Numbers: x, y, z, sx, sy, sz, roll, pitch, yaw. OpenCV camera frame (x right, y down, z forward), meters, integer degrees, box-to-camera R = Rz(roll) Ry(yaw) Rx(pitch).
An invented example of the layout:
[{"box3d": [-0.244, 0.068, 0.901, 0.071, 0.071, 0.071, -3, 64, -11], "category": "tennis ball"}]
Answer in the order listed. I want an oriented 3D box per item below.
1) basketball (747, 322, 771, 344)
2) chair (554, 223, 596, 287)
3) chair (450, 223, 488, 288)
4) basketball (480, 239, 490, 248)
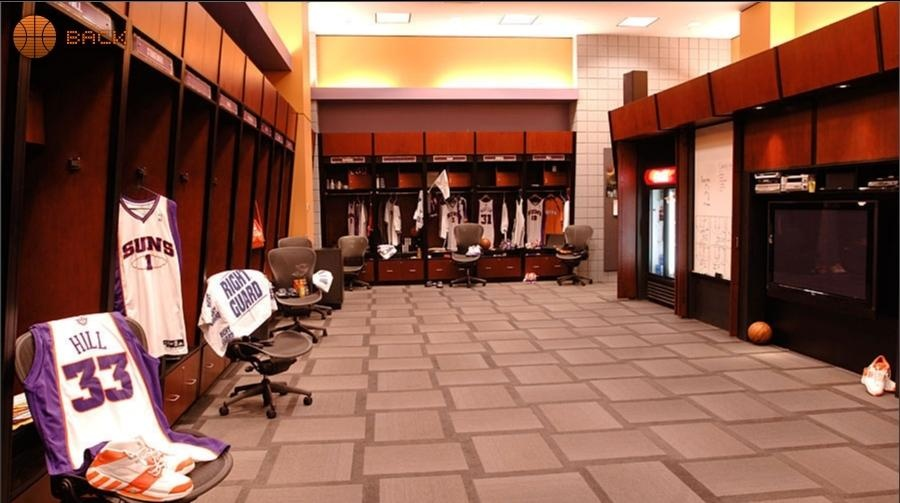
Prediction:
[{"box3d": [4.256, 1.119, 7.134, 0.311, 0.290, 0.228, 3, 9, 24], "category": "basketball"}, {"box3d": [2.785, 0.065, 11.632, 0.784, 1.294, 0.862, 1, 8, 12], "category": "chair"}, {"box3d": [0.389, 0.066, 11.484, 0.784, 1.389, 0.727, -1, 8, -2], "category": "chair"}, {"box3d": [0.829, -0.185, 11.863, 0.190, 0.172, 0.185, 17, 26, 36], "category": "basketball"}]
